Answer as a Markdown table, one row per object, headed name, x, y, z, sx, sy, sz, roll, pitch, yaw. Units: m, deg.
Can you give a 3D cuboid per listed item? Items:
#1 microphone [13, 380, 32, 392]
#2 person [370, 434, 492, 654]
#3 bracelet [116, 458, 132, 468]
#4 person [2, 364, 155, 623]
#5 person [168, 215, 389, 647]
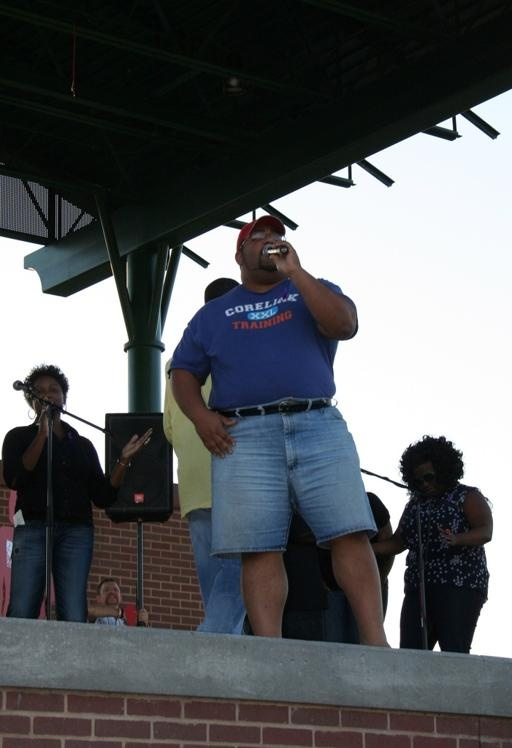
| name | x | y | z | sx | sy | sz | roll | pitch | yaw |
| --- | --- | --- | --- | --- | --- | --- | --- | --- | --- |
| microphone | -1.201 | 0.064 | 7.767 | 0.047 | 0.048 | 0.076 | 8 | -10 | -16 |
| person | 0.907 | 0.857 | 7.671 | 0.573 | 1.124 | 0.848 | -2 | -12 | 4 |
| bracelet | -0.725 | 0.493 | 8.312 | 0.096 | 0.047 | 0.123 | -1 | -1 | -2 |
| person | -0.995 | 0.563 | 7.679 | 0.540 | 1.410 | 0.848 | -2 | -12 | 3 |
| person | 0.074 | 0.196 | 5.839 | 0.811 | 1.709 | 0.427 | -1 | -12 | 2 |
